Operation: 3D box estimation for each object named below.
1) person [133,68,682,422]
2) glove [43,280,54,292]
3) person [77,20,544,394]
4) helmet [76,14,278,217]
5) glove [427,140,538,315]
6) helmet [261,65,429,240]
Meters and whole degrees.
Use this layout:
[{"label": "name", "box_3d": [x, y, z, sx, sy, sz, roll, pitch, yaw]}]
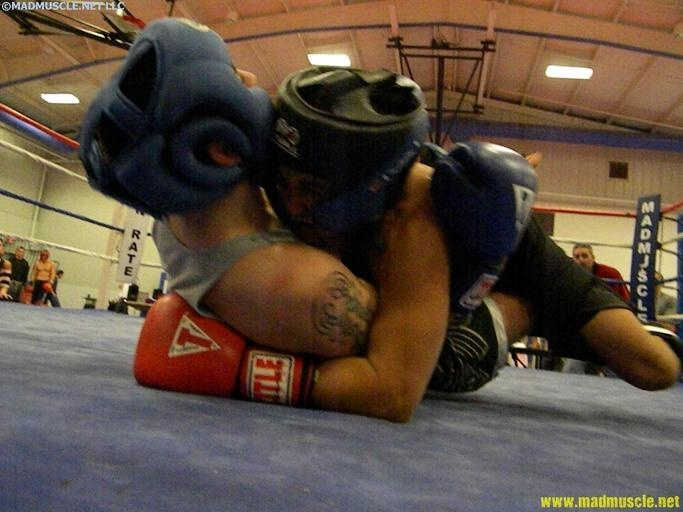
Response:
[{"label": "person", "box_3d": [0.192, 0.068, 1.077, 0.976, 0.460, 0.697, 32, -52, -33]}, {"label": "glove", "box_3d": [-2.747, 0.285, 4.516, 0.085, 0.101, 0.111, 11, 19, -4]}, {"label": "person", "box_3d": [-0.004, -0.028, 0.979, 0.562, 0.406, 0.844, 0, -41, 21]}, {"label": "helmet", "box_3d": [-0.251, -0.230, 0.939, 0.354, 0.272, 0.335, 22, -54, -32]}, {"label": "glove", "box_3d": [0.295, -0.060, 1.047, 0.213, 0.287, 0.287, 23, -2, -11]}, {"label": "helmet", "box_3d": [0.029, -0.207, 0.985, 0.323, 0.284, 0.259, 1, 38, -28]}]
